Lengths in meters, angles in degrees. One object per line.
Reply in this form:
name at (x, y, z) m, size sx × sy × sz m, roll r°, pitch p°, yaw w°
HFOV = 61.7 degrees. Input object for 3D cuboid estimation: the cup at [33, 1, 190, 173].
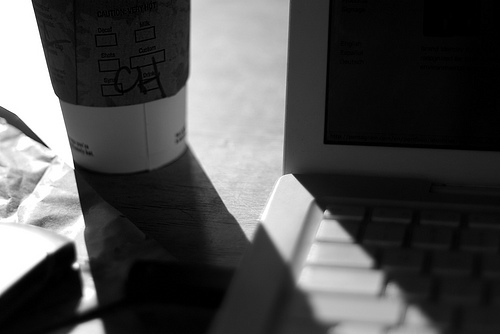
cup at (-0.166, -0.122, 0.571) m, size 0.183 × 0.187 × 0.179 m, roll 1°, pitch 22°, yaw 0°
